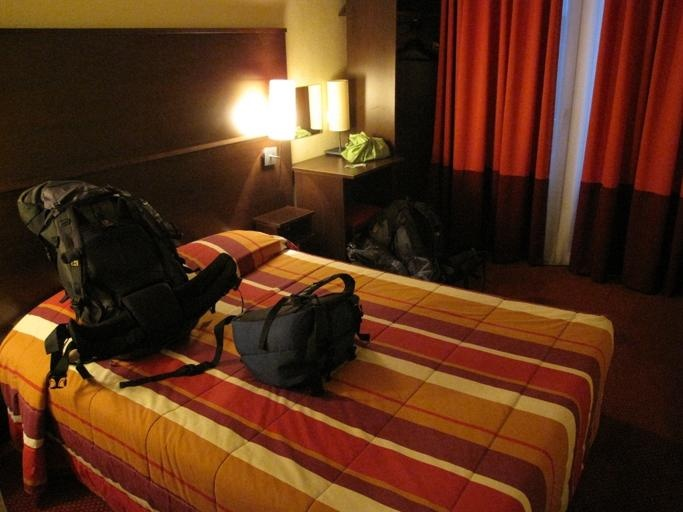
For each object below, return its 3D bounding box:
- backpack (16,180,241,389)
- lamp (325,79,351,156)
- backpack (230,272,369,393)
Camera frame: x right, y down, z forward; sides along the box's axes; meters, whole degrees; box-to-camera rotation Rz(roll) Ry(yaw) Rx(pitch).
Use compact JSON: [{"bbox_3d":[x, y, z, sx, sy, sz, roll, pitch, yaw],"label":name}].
[{"bbox_3d":[-1.162,0.179,2.760,0.491,0.740,0.928,-22,4,33],"label":"backpack"},{"bbox_3d":[-0.023,-1.229,4.588,0.211,0.617,0.344,-4,22,2],"label":"lamp"},{"bbox_3d":[-0.184,0.397,2.668,0.485,0.433,0.606,8,28,38],"label":"backpack"}]
